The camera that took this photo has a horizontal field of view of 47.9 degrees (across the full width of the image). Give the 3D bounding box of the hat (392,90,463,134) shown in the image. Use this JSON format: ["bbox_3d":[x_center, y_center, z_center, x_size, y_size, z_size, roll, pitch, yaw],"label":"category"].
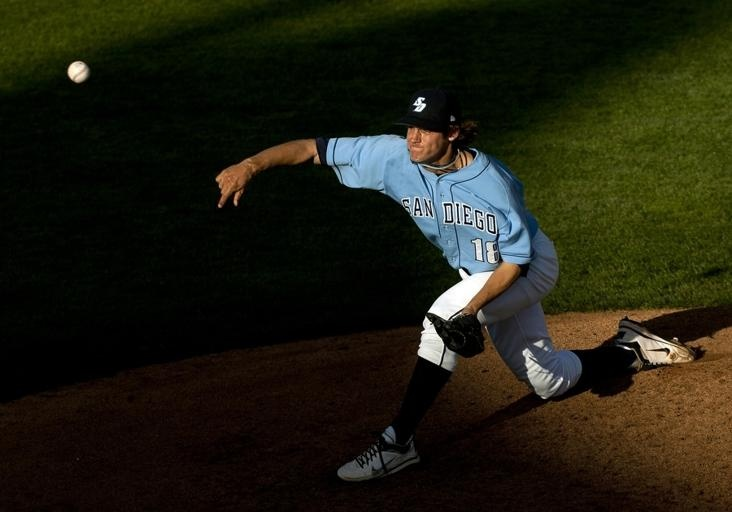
[{"bbox_3d":[0.484,-1.048,6.037,0.478,0.206,0.315,-8,21,-36],"label":"hat"}]

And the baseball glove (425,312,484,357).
[{"bbox_3d":[0.683,0.537,5.963,0.399,0.156,0.271,34,10,-3],"label":"baseball glove"}]

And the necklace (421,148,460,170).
[{"bbox_3d":[0.567,-0.678,6.055,0.204,0.183,0.042,8,62,-45],"label":"necklace"}]
